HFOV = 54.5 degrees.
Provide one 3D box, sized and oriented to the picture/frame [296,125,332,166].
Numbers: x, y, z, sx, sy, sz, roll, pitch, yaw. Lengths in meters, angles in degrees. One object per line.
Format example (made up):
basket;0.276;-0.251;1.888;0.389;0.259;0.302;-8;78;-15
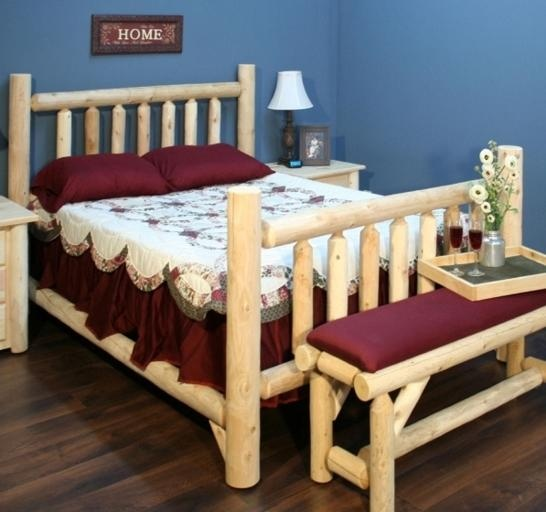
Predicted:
picture/frame;0.316;-0.840;4.041;0.354;0.434;0.032;-2;11;-9
